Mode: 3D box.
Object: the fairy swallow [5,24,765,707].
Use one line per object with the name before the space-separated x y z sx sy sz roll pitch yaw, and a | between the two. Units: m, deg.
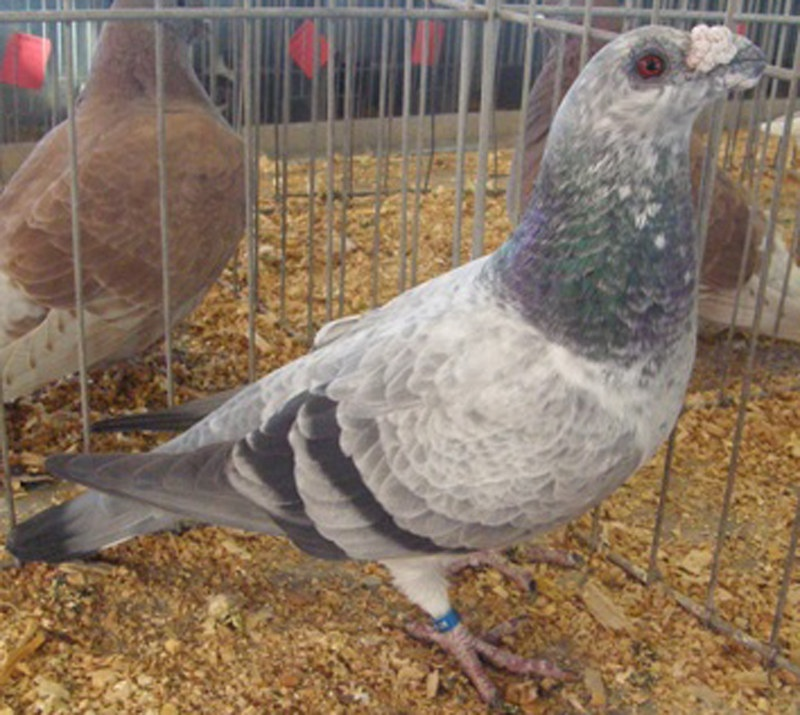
fairy swallow | -0.049 0.059 3.021 1.421 1.335 0.636 -5 24 0
